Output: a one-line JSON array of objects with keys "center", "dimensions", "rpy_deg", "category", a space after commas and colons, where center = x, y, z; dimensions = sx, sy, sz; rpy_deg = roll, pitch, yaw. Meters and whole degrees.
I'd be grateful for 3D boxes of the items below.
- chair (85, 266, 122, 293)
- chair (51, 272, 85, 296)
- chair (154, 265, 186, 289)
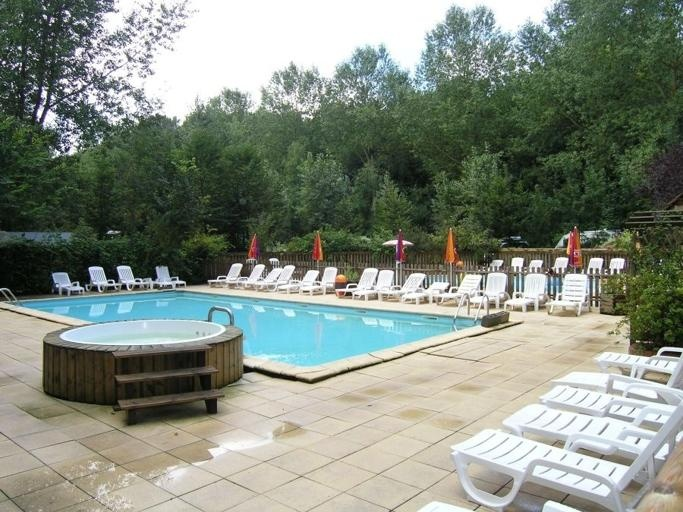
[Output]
[{"center": [-9.862, 1.042, 22.295], "dimensions": [1.207, 1.107, 1.972], "rpy_deg": [-5, 6, -23], "category": "chair"}, {"center": [-10.470, 1.154, 20.765], "dimensions": [1.283, 0.869, 0.858], "rpy_deg": [4, 3, 36], "category": "chair"}, {"center": [-7.710, 1.095, 24.108], "dimensions": [1.166, 0.806, 1.180], "rpy_deg": [0, 1, 27], "category": "chair"}]
